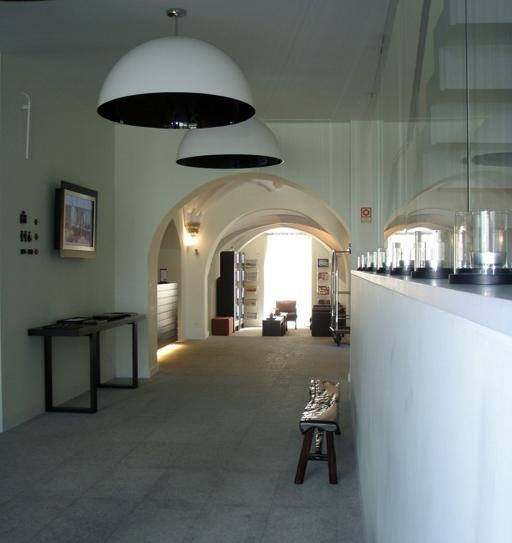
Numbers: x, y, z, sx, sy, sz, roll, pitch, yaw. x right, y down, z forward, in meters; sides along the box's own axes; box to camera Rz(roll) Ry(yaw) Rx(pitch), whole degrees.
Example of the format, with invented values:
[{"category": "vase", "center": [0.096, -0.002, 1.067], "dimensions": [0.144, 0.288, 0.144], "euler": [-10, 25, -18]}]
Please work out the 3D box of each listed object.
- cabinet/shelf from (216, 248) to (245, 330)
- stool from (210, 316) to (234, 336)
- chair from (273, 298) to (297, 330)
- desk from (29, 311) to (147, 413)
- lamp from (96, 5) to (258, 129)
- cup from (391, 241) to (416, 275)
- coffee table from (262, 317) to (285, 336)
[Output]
[{"category": "cabinet/shelf", "center": [-0.991, 0.719, 16.750], "dimensions": [0.908, 2.971, 2.259], "euler": [0, -1, -2]}, {"category": "stool", "center": [-1.111, 1.748, 14.568], "dimensions": [0.671, 0.563, 0.920], "euler": [0, -1, -8]}, {"category": "chair", "center": [1.137, 1.745, 19.146], "dimensions": [0.793, 1.564, 1.010], "euler": [-1, -4, 10]}, {"category": "desk", "center": [-2.280, 1.212, 6.337], "dimensions": [0.773, 1.185, 1.962], "euler": [0, -1, 4]}, {"category": "lamp", "center": [-0.564, -1.374, 3.264], "dimensions": [1.031, 0.538, 0.903], "euler": [-1, -2, 34]}, {"category": "cup", "center": [0.656, -0.039, 2.058], "dimensions": [0.107, 0.162, 0.118], "euler": [-16, -18, 23]}, {"category": "coffee table", "center": [0.519, 1.801, 14.839], "dimensions": [0.674, 0.560, 0.669], "euler": [0, -1, -8]}]
